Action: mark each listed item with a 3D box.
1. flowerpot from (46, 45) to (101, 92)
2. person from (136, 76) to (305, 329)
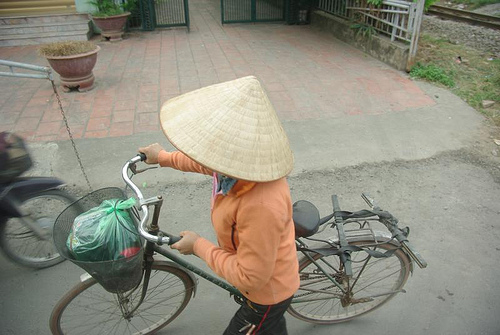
[{"bbox_3d":[-3.493,-2.048,7.777,0.939,1.015,0.793,6,35,2],"label":"flowerpot"},{"bbox_3d":[-0.129,0.378,3.078,0.958,2.026,1.086,-7,35,-11],"label":"person"}]
